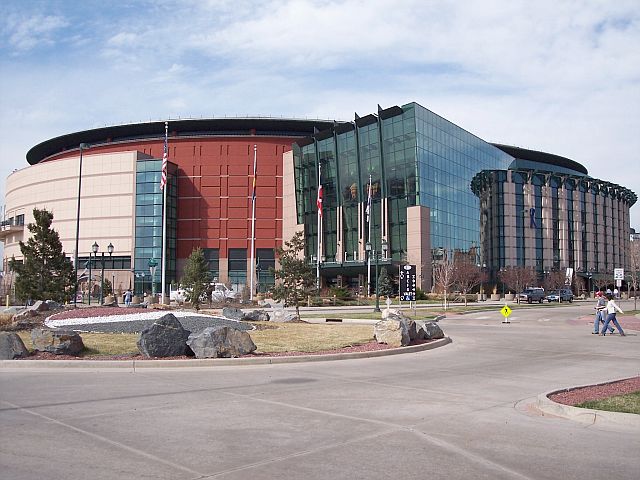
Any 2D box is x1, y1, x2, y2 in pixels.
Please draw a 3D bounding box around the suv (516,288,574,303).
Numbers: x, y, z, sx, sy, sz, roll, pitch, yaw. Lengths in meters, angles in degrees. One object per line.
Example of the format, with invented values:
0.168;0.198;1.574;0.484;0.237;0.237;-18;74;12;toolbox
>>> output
25.345;6.268;68.864;3.409;1.617;7.768;-6;-7;41;suv
